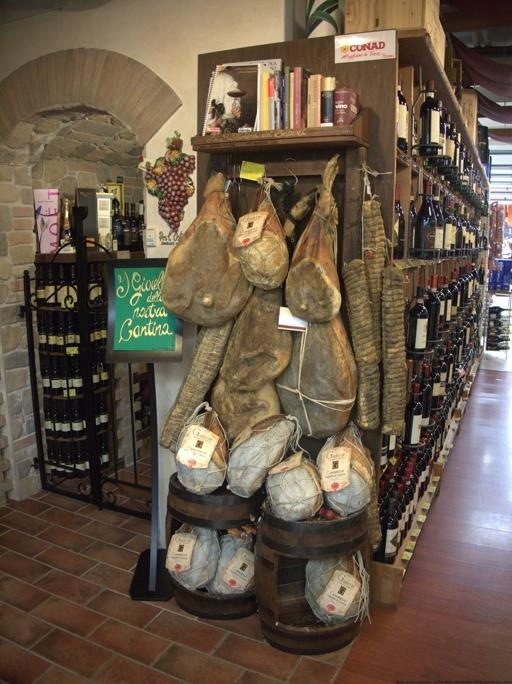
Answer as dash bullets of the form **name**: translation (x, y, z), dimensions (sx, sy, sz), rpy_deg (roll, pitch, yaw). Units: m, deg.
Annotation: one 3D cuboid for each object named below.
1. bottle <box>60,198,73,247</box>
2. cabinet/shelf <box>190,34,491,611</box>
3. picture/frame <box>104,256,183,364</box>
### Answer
- **bottle**: translation (-1.308, -0.822, 3.621), dimensions (0.080, 0.346, 0.272), rpy_deg (-2, 4, -19)
- **cabinet/shelf**: translation (0.864, -0.326, 3.201), dimensions (0.689, 2.659, 3.163), rpy_deg (2, 4, 28)
- **picture/frame**: translation (-0.438, -0.120, 2.088), dimensions (0.417, 0.550, 0.026), rpy_deg (-1, -11, 4)
